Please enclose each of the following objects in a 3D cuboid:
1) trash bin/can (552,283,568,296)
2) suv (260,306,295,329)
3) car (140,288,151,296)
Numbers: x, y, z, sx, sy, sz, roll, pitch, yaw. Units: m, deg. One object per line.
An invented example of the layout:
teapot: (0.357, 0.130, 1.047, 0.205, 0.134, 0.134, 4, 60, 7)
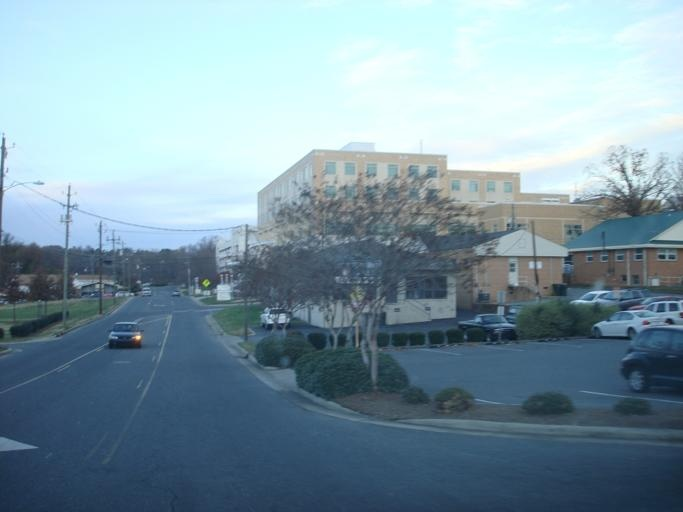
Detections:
trash bin/can: (16.594, 2.494, 59.932, 1.106, 0.861, 0.961, 0, 1, -13)
suv: (-4.051, 3.836, 49.143, 1.598, 1.051, 3.234, 0, 1, -12)
car: (-29.778, 5.412, 119.669, 1.344, 0.929, 2.668, 0, -4, -11)
